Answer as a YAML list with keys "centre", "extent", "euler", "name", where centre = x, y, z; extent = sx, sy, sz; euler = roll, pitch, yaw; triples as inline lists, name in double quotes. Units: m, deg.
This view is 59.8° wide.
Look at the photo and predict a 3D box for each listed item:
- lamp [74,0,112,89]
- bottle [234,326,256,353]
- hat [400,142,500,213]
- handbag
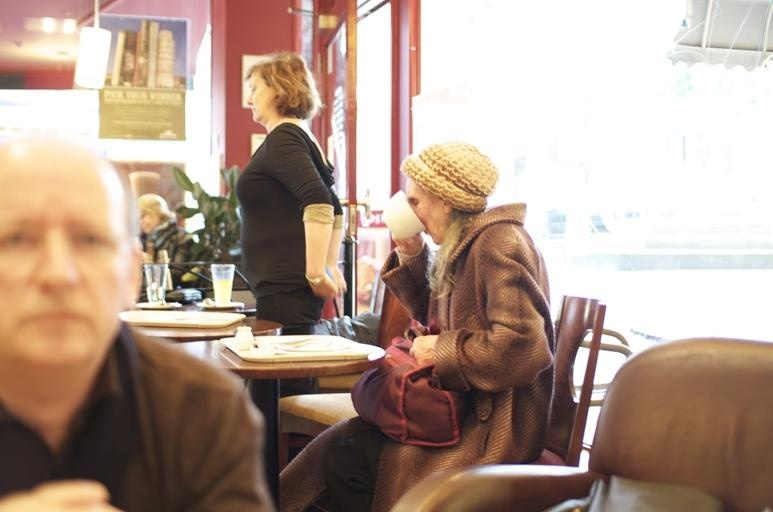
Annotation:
- centre: [-1.543, -1.039, 3.532]
  extent: [0.168, 0.314, 0.119]
  euler: [-1, 8, -24]
  name: "lamp"
- centre: [-0.313, 0.182, 1.489]
  extent: [0.044, 0.046, 0.044]
  euler: [0, -3, -8]
  name: "bottle"
- centre: [0.157, -0.207, 1.726]
  extent: [0.193, 0.124, 0.174]
  euler: [18, 14, 5]
  name: "hat"
- centre: [0.043, 0.246, 1.567]
  extent: [0.177, 0.139, 0.330]
  euler: [-3, 5, -9]
  name: "handbag"
